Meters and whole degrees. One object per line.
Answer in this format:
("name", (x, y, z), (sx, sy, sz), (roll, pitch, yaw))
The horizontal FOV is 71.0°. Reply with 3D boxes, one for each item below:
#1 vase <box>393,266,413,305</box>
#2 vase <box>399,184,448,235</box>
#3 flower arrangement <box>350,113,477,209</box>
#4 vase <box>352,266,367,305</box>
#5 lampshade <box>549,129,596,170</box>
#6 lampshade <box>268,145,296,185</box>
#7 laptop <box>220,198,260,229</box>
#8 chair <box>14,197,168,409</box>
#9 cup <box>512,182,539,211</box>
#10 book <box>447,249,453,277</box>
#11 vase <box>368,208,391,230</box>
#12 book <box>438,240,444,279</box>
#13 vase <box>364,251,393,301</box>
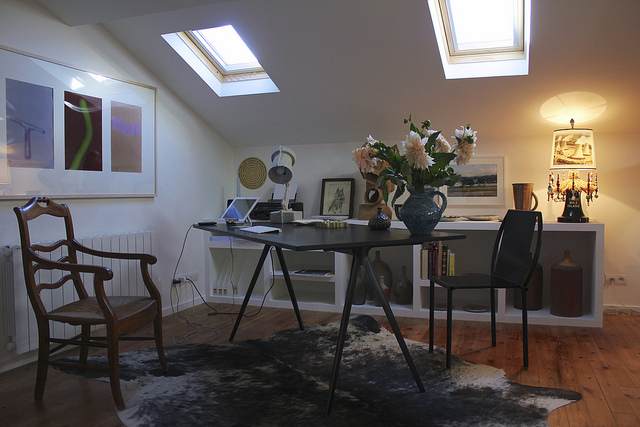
("vase", (0.861, 0.745, 4.664), (0.184, 0.380, 0.196), (-4, 13, -13))
("vase", (0.753, -0.024, 3.276), (0.353, 0.331, 0.291), (1, 3, 25))
("flower arrangement", (0.760, -0.374, 3.264), (0.562, 0.395, 0.704), (-9, -11, 36))
("vase", (0.417, 0.785, 4.674), (0.118, 0.276, 0.281), (2, 13, 13))
("lampshade", (2.309, -0.621, 4.384), (0.625, 0.389, 0.639), (6, 7, 30))
("lampshade", (-0.283, -0.411, 3.947), (0.288, 0.293, 0.295), (2, 45, 3))
("laptop", (-0.699, -0.013, 3.835), (0.308, 0.255, 0.251), (2, 3, 39))
("chair", (-1.642, 0.604, 3.392), (1.041, 1.344, 1.004), (4, 2, 32))
("cup", (2.001, -0.164, 4.422), (0.208, 0.260, 0.234), (2, 13, 15))
("book", (1.273, 0.495, 4.420), (0.089, 0.247, 0.274), (0, -1, 16))
("vase", (0.441, 0.045, 3.400), (0.156, 0.144, 0.158), (-1, 1, 32))
("book", (1.162, 0.450, 4.331), (0.063, 0.423, 0.379), (1, 8, 14))
("vase", (0.627, 0.654, 4.829), (0.349, 0.509, 0.342), (-1, -1, -13))
